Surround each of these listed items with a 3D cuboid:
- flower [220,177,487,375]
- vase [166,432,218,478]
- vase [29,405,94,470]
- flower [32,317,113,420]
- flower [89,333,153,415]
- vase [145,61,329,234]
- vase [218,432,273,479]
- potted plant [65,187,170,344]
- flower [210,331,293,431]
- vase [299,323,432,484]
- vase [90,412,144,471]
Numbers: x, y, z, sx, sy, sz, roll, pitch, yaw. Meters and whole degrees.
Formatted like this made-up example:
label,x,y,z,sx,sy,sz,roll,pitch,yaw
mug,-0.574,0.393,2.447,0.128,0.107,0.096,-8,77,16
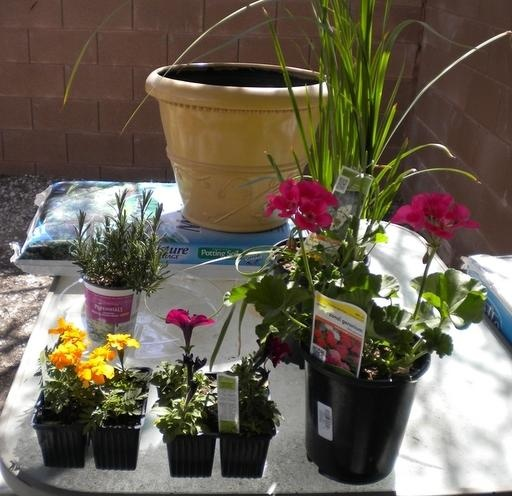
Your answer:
label,x,y,z,sx,sy,sz,roll,pitch,yaw
flower,0.107,0.019,0.560,0.255,0.211,0.316,17,24,13
vase,-0.071,0.234,0.495,0.059,0.055,0.050,1,-7,0
vase,-0.221,0.211,0.505,0.061,0.050,0.075,1,10,-7
flower,-0.214,0.149,0.494,0.077,0.099,0.095,8,3,-8
flower,-0.165,0.153,0.523,0.061,0.040,0.089,4,31,-6
vase,-0.047,-0.217,0.939,0.391,0.276,0.386,1,25,-4
vase,-0.018,0.246,0.504,0.079,0.068,0.051,15,59,-24
potted plant,-0.224,0.041,0.711,0.155,0.222,0.143,10,6,24
flower,0.007,0.172,0.519,0.047,0.142,0.118,19,50,-23
vase,0.123,0.198,0.507,0.141,0.131,0.127,4,2,-21
vase,-0.161,0.231,0.498,0.067,0.072,0.049,-2,66,-5
